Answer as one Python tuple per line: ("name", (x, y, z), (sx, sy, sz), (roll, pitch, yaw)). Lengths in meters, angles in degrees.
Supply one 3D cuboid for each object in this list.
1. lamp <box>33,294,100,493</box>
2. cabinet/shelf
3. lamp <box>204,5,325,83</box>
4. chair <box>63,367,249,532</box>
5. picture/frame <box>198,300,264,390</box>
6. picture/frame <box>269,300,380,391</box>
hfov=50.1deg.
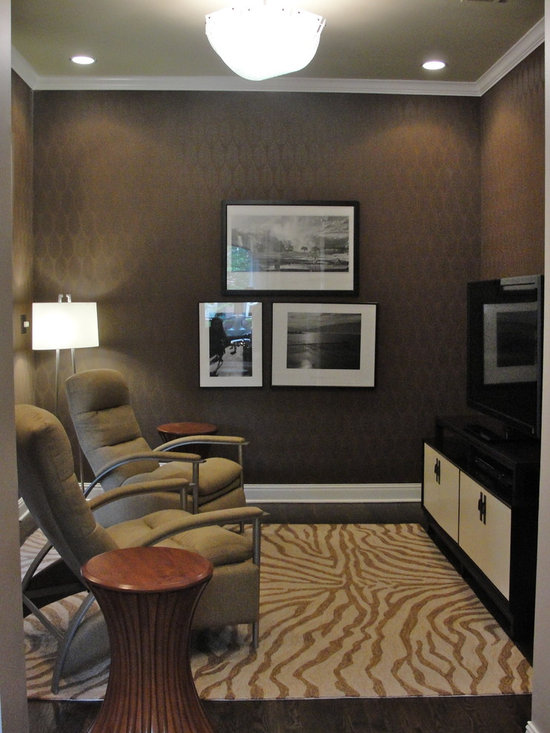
("lamp", (-1.290, 0.228, 3.676), (0.350, 1.460, 0.350), (-5, 20, -27))
("cabinet/shelf", (1.023, 0.656, 2.823), (0.288, 0.701, 1.217), (1, 4, -1))
("lamp", (-0.046, -1.421, 2.563), (0.422, 0.203, 0.484), (0, 3, -7))
("chair", (-0.612, 0.444, 3.043), (0.753, 0.905, 0.564), (-2, 1, 20))
("picture/frame", (-0.298, -0.168, 3.856), (0.495, 0.746, 0.028), (0, 1, -4))
("picture/frame", (0.326, -0.164, 3.857), (0.487, 0.473, 0.019), (1, 2, -2))
